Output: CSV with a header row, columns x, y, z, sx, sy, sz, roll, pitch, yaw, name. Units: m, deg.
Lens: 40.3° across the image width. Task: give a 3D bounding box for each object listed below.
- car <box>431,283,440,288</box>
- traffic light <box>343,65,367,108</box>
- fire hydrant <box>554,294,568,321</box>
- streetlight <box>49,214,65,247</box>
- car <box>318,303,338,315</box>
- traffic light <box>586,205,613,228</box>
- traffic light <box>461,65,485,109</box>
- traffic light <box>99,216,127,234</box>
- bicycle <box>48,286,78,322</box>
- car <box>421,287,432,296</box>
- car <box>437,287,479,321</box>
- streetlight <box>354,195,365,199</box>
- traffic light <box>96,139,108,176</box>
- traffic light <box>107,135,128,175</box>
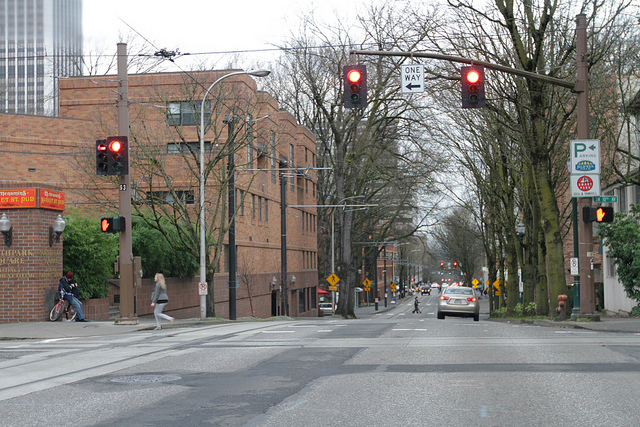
x,y,z,sx,sy,sz,roll,pitch,yaw,name
25.819,16.060,196.566,1.661,1.107,2.827,-1,-11,9,car
1.167,-4.385,29.859,0.741,1.430,0.322,-2,6,-1,traffic light
9.888,3.873,35.927,0.483,1.181,1.116,0,6,14,fire hydrant
-10.747,0.739,35.816,0.675,1.233,0.651,2,7,35,streetlight
0.466,8.301,77.241,1.405,1.230,2.446,0,5,7,car
10.563,0.131,33.053,0.712,0.788,0.934,3,7,40,traffic light
5.295,-4.394,30.330,0.791,1.530,0.295,-1,34,12,traffic light
-8.084,0.433,34.181,0.999,0.658,0.419,-2,6,-7,traffic light
-10.529,3.684,35.643,0.667,1.434,1.244,1,6,21,bicycle
19.233,14.194,159.772,1.447,1.065,2.164,-1,-9,3,car
6.910,4.572,43.878,1.852,1.468,4.140,0,-1,11,car
2.706,-1.168,60.328,0.482,0.118,0.496,1,-5,-13,streetlight
-8.468,-2.195,33.722,0.529,1.299,0.341,3,8,40,traffic light
-7.859,-2.260,33.806,0.828,1.488,0.409,-3,6,-15,traffic light
